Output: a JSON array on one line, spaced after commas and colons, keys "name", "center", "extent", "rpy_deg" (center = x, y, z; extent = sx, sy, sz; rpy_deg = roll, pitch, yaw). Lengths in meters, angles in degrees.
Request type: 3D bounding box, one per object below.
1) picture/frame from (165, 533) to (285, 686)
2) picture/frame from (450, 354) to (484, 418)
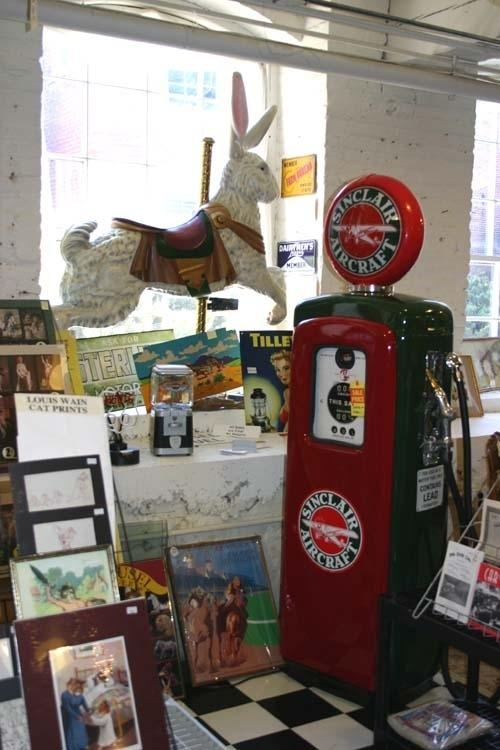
[{"name": "picture/frame", "center": [-0.086, 0.869, 2.162], "extent": [0.386, 0.470, 0.318], "rpy_deg": [-9, 14, -16]}, {"name": "picture/frame", "center": [1.269, 0.054, 3.332], "extent": [0.128, 0.349, 0.480], "rpy_deg": [0, 15, 22]}]
